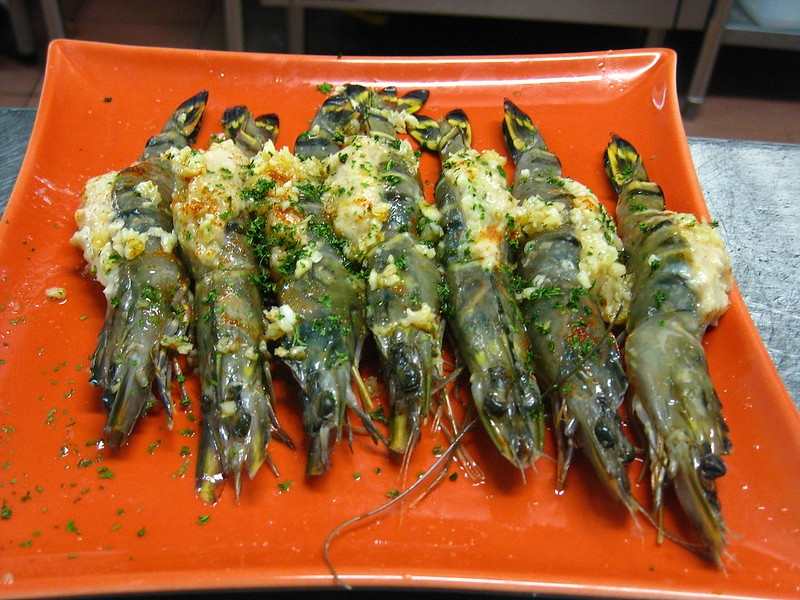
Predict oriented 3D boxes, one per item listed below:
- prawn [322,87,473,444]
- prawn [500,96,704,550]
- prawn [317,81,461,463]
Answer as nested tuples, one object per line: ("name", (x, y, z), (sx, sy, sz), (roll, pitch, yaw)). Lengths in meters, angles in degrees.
("prawn", (-0.031, -0.198, 3.775), (0.412, 0.269, 2.010), (4, 58, -13))
("prawn", (0.844, -0.243, 3.742), (0.440, 0.297, 2.159), (7, 55, -19))
("prawn", (-0.040, -0.225, 3.791), (0.454, 0.319, 1.962), (1, 59, -9))
